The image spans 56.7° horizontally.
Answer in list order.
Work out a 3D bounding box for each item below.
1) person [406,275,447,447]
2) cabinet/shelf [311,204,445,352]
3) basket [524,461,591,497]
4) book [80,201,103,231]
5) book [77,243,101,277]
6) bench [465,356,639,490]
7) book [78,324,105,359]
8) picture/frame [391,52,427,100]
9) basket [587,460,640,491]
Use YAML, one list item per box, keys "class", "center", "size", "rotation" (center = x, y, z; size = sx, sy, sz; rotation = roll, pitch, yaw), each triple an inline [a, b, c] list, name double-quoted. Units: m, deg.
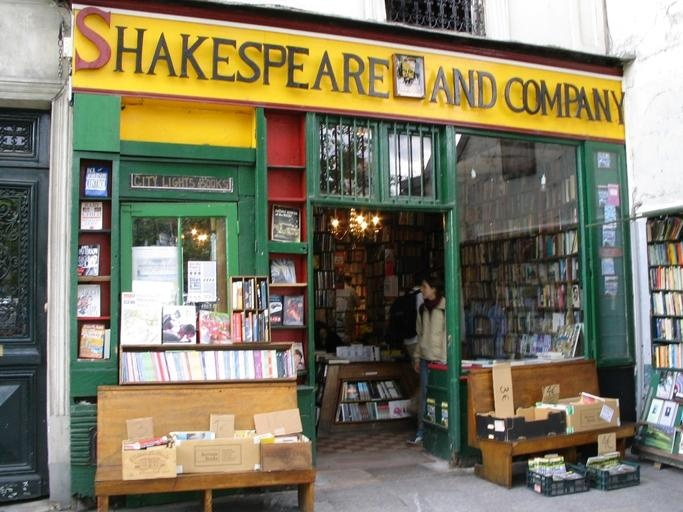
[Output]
- class: "person"
  center: [1.092, 1.304, 7.755]
  size: [0.373, 2.056, 0.797]
  rotation: [0, 0, -30]
- class: "cabinet/shelf"
  center: [0.238, 0.375, 12.229]
  size: [3.011, 2.999, 1.119]
  rotation: [-7, 29, -35]
- class: "basket"
  center: [2.187, 2.231, 6.336]
  size: [0.601, 0.205, 0.305]
  rotation: [0, 0, -21]
- class: "book"
  center: [-2.478, -0.386, 6.207]
  size: [0.244, 0.366, 0.034]
  rotation: [1, -8, -17]
- class: "book"
  center: [-2.486, 0.048, 6.178]
  size: [0.275, 0.372, 0.048]
  rotation: [1, -13, -14]
- class: "bench"
  center: [2.327, 1.731, 6.786]
  size: [1.710, 1.181, 0.850]
  rotation: [-2, -6, -16]
- class: "book"
  center: [-2.420, 0.821, 6.103]
  size: [0.249, 0.319, 0.103]
  rotation: [0, 0, -16]
- class: "picture/frame"
  center: [0.738, -2.013, 7.103]
  size: [0.473, 0.600, 0.105]
  rotation: [1, -4, -28]
- class: "basket"
  center: [2.769, 2.239, 6.427]
  size: [0.363, 0.139, 0.279]
  rotation: [0, -3, -21]
